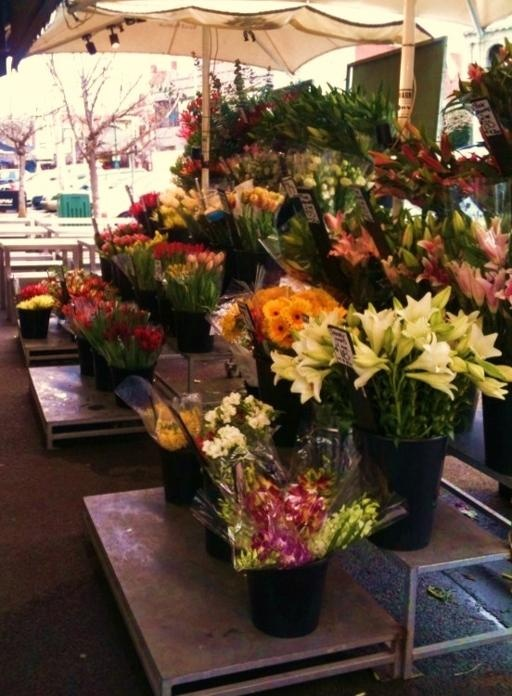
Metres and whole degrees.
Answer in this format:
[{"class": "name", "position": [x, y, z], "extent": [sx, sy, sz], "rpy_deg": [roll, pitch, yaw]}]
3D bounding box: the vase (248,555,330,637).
[{"class": "vase", "position": [0.053, 0.456, 0.935], "extent": [0.140, 0.185, 0.136], "rpy_deg": [3, 4, 2]}]
